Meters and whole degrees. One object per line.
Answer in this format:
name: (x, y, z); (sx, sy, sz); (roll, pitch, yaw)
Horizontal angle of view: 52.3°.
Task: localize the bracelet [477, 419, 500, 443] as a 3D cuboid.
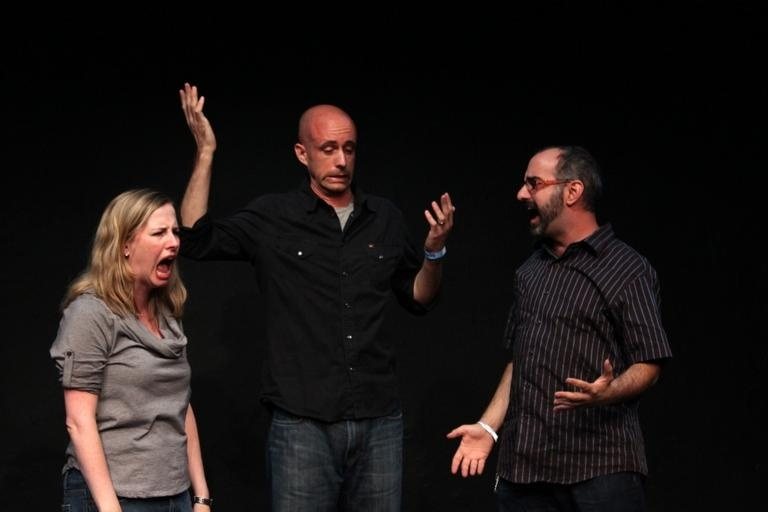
bracelet: (0.574, 0.953, 4.253); (0.130, 0.039, 0.077); (47, 11, 24)
